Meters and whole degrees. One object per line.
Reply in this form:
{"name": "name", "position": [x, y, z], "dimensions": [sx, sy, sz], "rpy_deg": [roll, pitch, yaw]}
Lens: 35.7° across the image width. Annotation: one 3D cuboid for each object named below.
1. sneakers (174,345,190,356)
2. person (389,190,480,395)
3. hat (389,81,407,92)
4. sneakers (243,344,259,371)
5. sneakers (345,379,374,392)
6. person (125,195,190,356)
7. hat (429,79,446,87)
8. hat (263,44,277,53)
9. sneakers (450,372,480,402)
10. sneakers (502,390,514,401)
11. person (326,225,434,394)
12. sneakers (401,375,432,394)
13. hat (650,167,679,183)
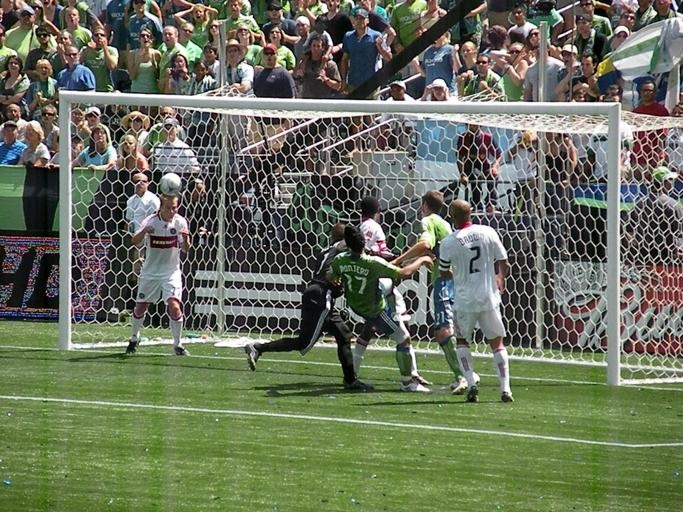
{"name": "sneakers", "position": [-2.062, 1.194, 13.729], "dimensions": [0.134, 0.131, 0.056], "rpy_deg": [-4, 23, 46]}
{"name": "person", "position": [0.993, 0.398, 12.081], "dimensions": [0.813, 2.310, 0.924], "rpy_deg": [-8, -5, 26]}
{"name": "hat", "position": [0.854, -2.683, 16.645], "dimensions": [0.176, 0.103, 0.289], "rpy_deg": [9, 7, -28]}
{"name": "sneakers", "position": [-1.065, 1.146, 12.547], "dimensions": [0.178, 0.413, 0.139], "rpy_deg": [-8, 15, -8]}
{"name": "sneakers", "position": [0.199, 1.449, 11.998], "dimensions": [0.314, 0.145, 0.133], "rpy_deg": [1, 2, -6]}
{"name": "person", "position": [-2.347, 0.194, 13.660], "dimensions": [0.760, 2.177, 0.688], "rpy_deg": [-1, 6, -13]}
{"name": "hat", "position": [1.477, -2.673, 16.461], "dimensions": [0.241, 0.126, 0.391], "rpy_deg": [2, 2, 12]}
{"name": "hat", "position": [-1.164, -3.369, 17.282], "dimensions": [0.124, 0.122, 0.216], "rpy_deg": [-1, 14, -1]}
{"name": "sneakers", "position": [1.345, 1.446, 11.857], "dimensions": [0.161, 0.232, 0.449], "rpy_deg": [-23, -8, -22]}
{"name": "sneakers", "position": [1.771, 1.502, 11.475], "dimensions": [0.076, 0.115, 0.142], "rpy_deg": [-5, -29, 14]}
{"name": "person", "position": [0.350, 0.479, 11.672], "dimensions": [1.014, 1.655, 0.517], "rpy_deg": [1, 6, 0]}
{"name": "sneakers", "position": [0.842, 1.446, 12.039], "dimensions": [0.393, 0.196, 0.143], "rpy_deg": [0, -1, 9]}
{"name": "hat", "position": [4.196, -1.079, 13.955], "dimensions": [0.254, 0.144, 0.183], "rpy_deg": [-7, 12, -3]}
